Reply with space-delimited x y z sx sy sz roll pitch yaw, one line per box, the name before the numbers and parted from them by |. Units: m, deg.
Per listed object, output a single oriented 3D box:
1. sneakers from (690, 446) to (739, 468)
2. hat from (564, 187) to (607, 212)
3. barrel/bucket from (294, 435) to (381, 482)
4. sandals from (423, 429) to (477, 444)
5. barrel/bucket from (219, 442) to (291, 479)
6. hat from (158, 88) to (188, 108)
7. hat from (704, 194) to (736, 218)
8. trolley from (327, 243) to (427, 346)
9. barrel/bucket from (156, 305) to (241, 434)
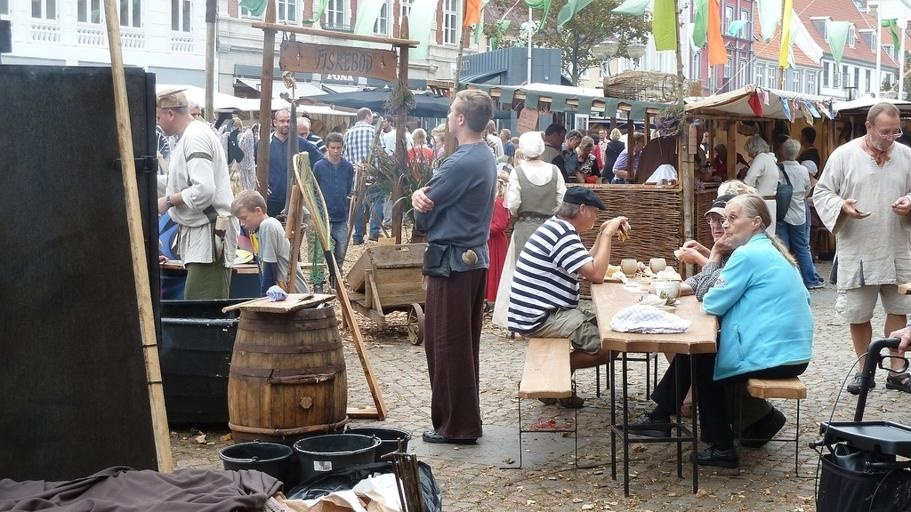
sneakers | 2.457 1.864 8.922 0.470 0.201 0.230 3 -1 14
hat | 1.333 -0.588 9.664 0.356 0.154 0.238 1 3 -16
barrel/bucket | -1.053 1.722 8.175 0.485 0.206 0.517 0 -5 0
sandals | -0.051 1.782 9.377 0.484 0.197 0.189 3 -3 13
barrel/bucket | -1.746 1.790 8.212 0.618 0.285 0.387 2 10 -24
hat | -2.965 -1.662 9.811 0.256 0.127 0.183 1 6 27
hat | 2.715 -0.514 9.585 0.285 0.138 0.185 0 -2 -29
trolley | -0.845 0.461 12.995 1.236 1.231 1.767 -5 8 -19
barrel/bucket | -2.594 1.115 9.593 0.896 1.296 0.485 1 3 1
